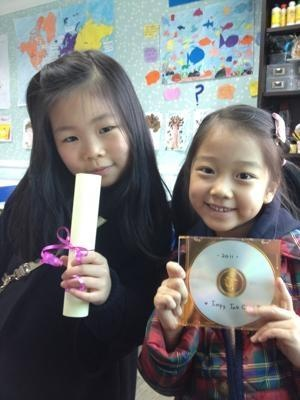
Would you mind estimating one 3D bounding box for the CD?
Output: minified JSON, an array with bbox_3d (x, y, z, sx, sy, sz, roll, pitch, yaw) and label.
[{"bbox_3d":[0.122,0.106,0.477,0.127,0.122,0.028,1,-4,17],"label":"CD"}]
